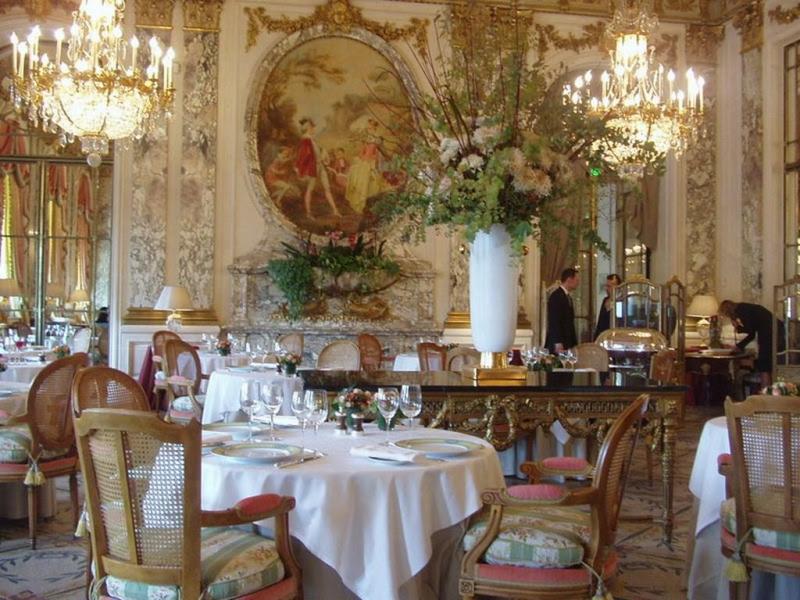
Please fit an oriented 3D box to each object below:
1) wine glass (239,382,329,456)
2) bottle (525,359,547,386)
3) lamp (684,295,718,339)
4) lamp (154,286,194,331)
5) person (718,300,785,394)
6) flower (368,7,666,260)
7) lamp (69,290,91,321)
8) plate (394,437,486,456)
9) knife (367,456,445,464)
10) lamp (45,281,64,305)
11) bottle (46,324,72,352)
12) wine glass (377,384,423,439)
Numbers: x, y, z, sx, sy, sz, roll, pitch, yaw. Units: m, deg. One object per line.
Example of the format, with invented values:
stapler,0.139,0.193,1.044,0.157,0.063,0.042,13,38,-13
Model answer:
wine glass,-0.645,0.565,3.772,0.339,0.244,0.352,0,0,2
bottle,0.973,0.510,5.181,0.114,0.235,0.224,0,-7,2
lamp,4.438,0.252,11.090,0.520,0.680,0.570,1,-7,-1
lamp,-2.913,0.067,9.793,0.565,0.725,0.606,0,3,-1
person,5.048,0.557,10.673,0.701,1.314,0.509,-15,14,23
flower,0.684,-1.085,4.845,1.538,1.599,0.765,0,-3,-2
lamp,-5.012,0.080,11.684,0.286,0.497,0.252,1,-4,-21
plate,0.195,0.717,3.671,0.445,0.059,0.279,2,-5,-17
knife,0.036,0.734,3.446,0.347,0.037,0.083,1,-5,-12
lamp,-5.370,-0.135,11.634,0.295,0.292,0.168,1,-4,-11
bottle,-4.350,0.479,9.498,0.222,0.462,0.232,1,5,0
wine glass,-0.001,0.560,3.766,0.221,0.278,0.248,0,-5,2
